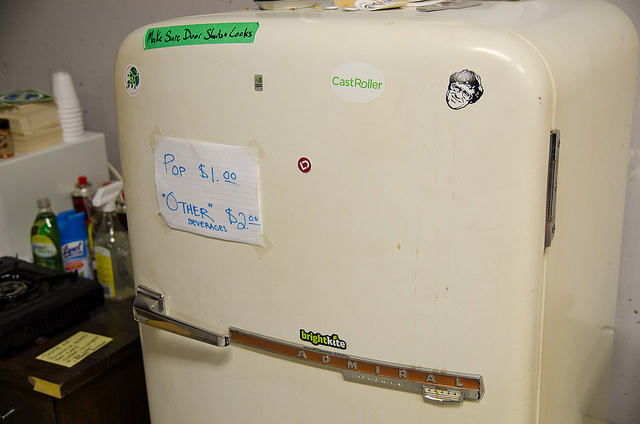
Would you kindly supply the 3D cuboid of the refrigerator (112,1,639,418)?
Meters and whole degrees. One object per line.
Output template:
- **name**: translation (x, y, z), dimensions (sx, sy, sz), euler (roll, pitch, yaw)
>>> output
- **refrigerator**: translation (0.126, -0.015, 1.422), dimensions (0.551, 1.091, 0.724), euler (-16, 25, -41)

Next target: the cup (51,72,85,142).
- **cup**: translation (-0.998, -0.415, 2.417), dimensions (0.105, 0.267, 0.068), euler (-6, 12, -23)

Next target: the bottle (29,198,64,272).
- **bottle**: translation (-1.003, 0.109, 2.229), dimensions (0.104, 0.214, 0.076), euler (-4, 12, -15)
